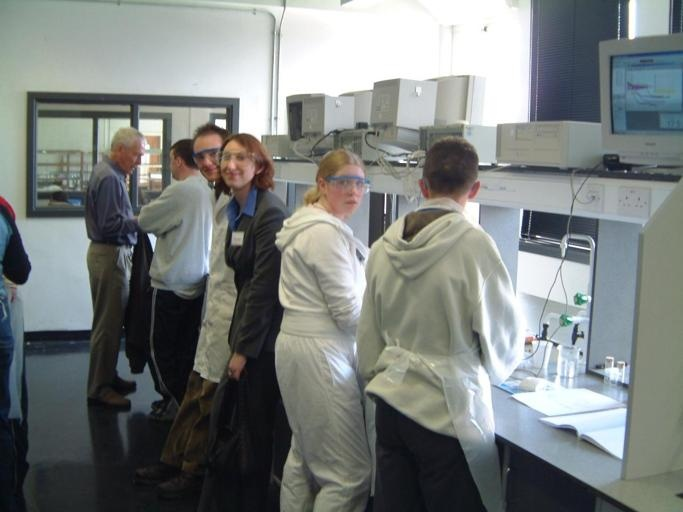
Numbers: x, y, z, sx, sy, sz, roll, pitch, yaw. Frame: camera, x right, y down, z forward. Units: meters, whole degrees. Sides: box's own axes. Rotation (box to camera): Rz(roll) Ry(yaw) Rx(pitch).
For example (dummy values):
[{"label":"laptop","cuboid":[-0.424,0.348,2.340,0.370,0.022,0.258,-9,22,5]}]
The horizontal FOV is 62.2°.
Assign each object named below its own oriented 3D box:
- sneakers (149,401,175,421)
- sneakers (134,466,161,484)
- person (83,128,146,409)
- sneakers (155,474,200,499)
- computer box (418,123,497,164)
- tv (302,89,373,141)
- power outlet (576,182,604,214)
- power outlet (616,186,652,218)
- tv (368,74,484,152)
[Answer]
[{"label":"sneakers","cuboid":[-1.233,1.062,3.957,0.121,0.063,0.164,3,-5,-2]},{"label":"sneakers","cuboid":[-1.087,1.230,3.199,0.146,0.068,0.076,3,-1,2]},{"label":"person","cuboid":[-1.653,0.079,4.101,0.474,1.980,0.553,-3,11,-19]},{"label":"sneakers","cuboid":[-0.905,1.242,3.132,0.230,0.117,0.102,4,13,-27]},{"label":"computer box","cuboid":[0.596,-0.581,2.763,0.286,0.220,0.305,-5,11,-21]},{"label":"tv","cuboid":[-0.024,-0.923,3.670,0.326,0.226,0.339,-7,11,-26]},{"label":"power outlet","cuboid":[0.942,-0.222,2.134,0.021,0.155,0.104,-2,5,-41]},{"label":"power outlet","cuboid":[1.043,-0.193,2.016,0.024,0.104,0.121,-7,13,-34]},{"label":"tv","cuboid":[0.466,-0.737,3.194,0.457,0.484,0.462,-3,8,-18]}]
